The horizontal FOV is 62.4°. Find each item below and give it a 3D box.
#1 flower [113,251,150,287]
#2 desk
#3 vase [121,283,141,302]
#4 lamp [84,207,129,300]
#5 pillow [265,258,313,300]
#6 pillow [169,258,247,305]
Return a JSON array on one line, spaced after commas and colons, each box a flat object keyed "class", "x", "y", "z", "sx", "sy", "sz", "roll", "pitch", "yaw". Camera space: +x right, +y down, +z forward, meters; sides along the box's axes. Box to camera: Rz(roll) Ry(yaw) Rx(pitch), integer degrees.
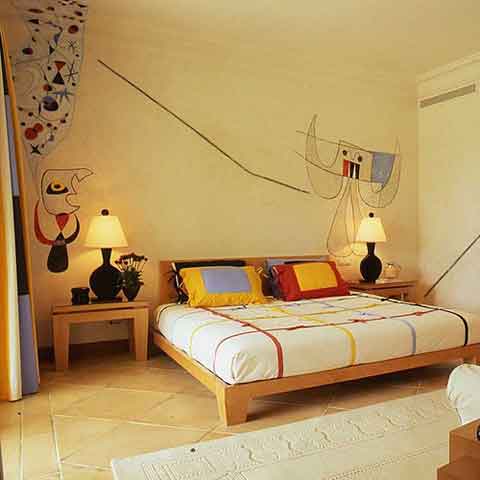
[{"class": "flower", "x": -0.939, "y": 0.261, "z": 3.483, "sx": 0.275, "sy": 0.294, "sz": 0.277, "roll": -2, "pitch": -8, "yaw": -11}, {"class": "desk", "x": -1.151, "y": 0.763, "z": 3.273, "sx": 0.718, "sy": 0.476, "sz": 0.381, "roll": 1, "pitch": -4, "yaw": -29}, {"class": "vase", "x": -0.900, "y": 0.447, "z": 3.329, "sx": 0.141, "sy": 0.139, "sz": 0.149, "roll": 0, "pitch": -6, "yaw": 5}, {"class": "lamp", "x": -1.138, "y": 0.113, "z": 3.414, "sx": 0.340, "sy": 0.790, "sz": 0.363, "roll": 0, "pitch": 0, "yaw": -16}, {"class": "pillow", "x": 0.411, "y": 0.398, "z": 3.829, "sx": 0.336, "sy": 0.383, "sz": 0.137, "roll": -2, "pitch": -14, "yaw": -2}, {"class": "pillow", "x": -0.373, "y": 0.351, "z": 3.612, "sx": 0.626, "sy": 0.381, "sz": 0.159, "roll": 0, "pitch": -23, "yaw": -38}]
